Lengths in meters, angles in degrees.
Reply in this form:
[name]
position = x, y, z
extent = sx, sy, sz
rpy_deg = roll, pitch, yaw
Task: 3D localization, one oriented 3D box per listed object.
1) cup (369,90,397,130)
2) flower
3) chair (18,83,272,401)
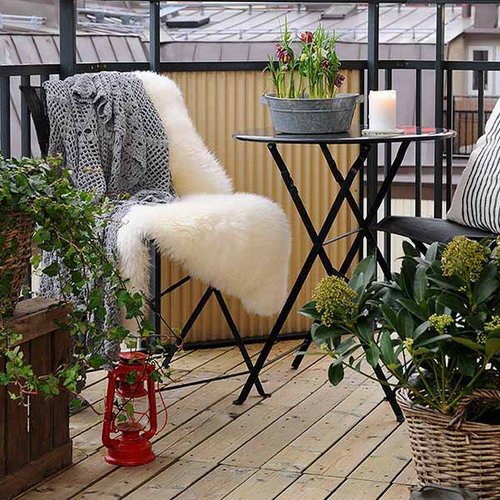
[cup]
position = 0.397, -0.420, 1.910
extent = 0.076, 0.129, 0.116
rpy_deg = 1, 8, 10
[flower]
position = 0.170, -0.553, 1.923
extent = 0.187, 0.217, 0.158
rpy_deg = -6, 12, -41
[chair]
position = -0.277, -0.015, 2.440
extent = 0.887, 1.443, 0.816
rpy_deg = -2, -1, 26
